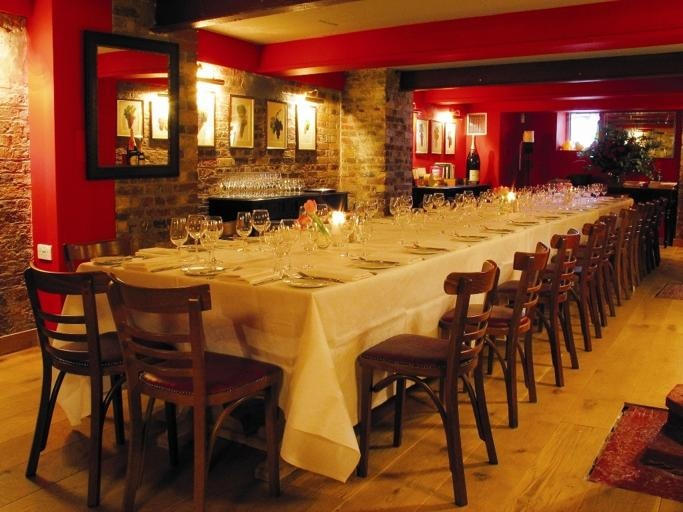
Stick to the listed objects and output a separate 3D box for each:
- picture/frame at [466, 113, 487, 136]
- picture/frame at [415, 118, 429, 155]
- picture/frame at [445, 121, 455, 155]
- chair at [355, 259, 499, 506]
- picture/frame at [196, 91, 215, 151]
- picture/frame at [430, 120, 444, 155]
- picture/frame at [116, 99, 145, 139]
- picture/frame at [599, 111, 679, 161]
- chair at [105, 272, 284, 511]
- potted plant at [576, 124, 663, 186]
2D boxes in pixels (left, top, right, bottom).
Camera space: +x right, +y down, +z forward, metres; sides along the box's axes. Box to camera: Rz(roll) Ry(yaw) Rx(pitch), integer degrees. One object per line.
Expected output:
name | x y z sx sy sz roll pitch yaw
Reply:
picture/frame | 3.451 -3.360 13.307 0.511 0.506 0.284 5 10 34
picture/frame | 1.767 -2.627 11.468 0.070 0.998 0.837 1 3 31
picture/frame | 2.612 -2.841 12.594 0.067 0.990 0.826 1 3 31
chair | 0.531 0.565 2.968 0.763 1.112 0.995 5 12 21
picture/frame | -1.757 -1.795 6.875 0.068 0.725 0.343 5 12 21
picture/frame | 2.189 -2.736 12.036 0.065 1.010 0.846 1 2 30
picture/frame | -2.021 -1.315 5.012 0.040 0.388 0.402 2 5 31
picture/frame | 6.893 -2.718 11.949 0.044 1.325 1.872 -7 10 -33
chair | -0.794 0.618 2.627 0.906 1.118 0.717 11 15 43
potted plant | 5.463 -1.971 10.316 1.154 1.081 0.708 5 12 24
